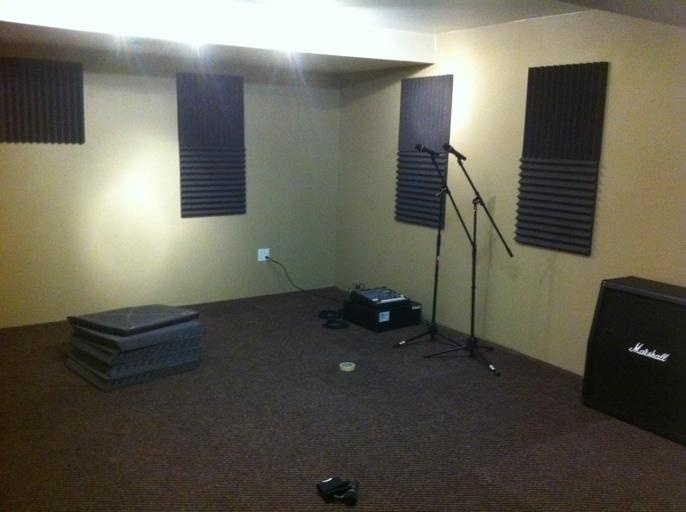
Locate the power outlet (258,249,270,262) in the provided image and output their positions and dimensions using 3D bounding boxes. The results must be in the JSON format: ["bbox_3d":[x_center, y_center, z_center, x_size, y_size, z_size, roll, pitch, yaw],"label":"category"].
[{"bbox_3d":[-0.905,-0.019,6.025,0.134,0.131,0.068,0,3,-40],"label":"power outlet"}]

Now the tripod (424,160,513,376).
[{"bbox_3d":[1.153,-0.013,4.607,0.623,1.713,1.052,5,15,18],"label":"tripod"}]
